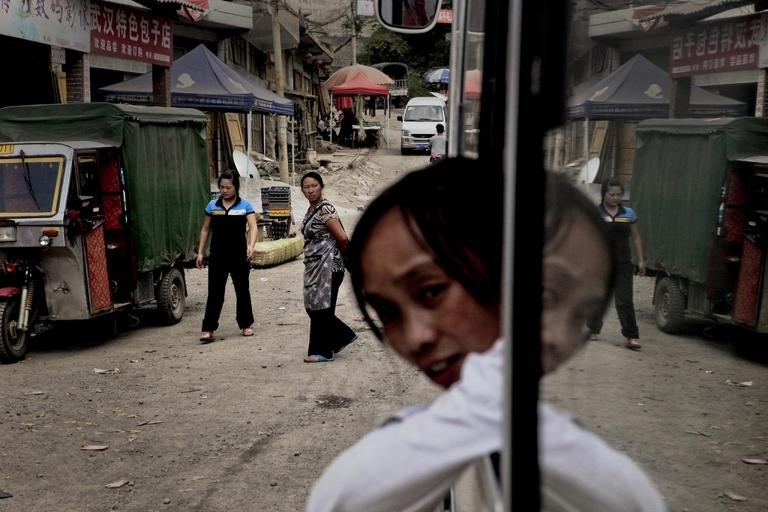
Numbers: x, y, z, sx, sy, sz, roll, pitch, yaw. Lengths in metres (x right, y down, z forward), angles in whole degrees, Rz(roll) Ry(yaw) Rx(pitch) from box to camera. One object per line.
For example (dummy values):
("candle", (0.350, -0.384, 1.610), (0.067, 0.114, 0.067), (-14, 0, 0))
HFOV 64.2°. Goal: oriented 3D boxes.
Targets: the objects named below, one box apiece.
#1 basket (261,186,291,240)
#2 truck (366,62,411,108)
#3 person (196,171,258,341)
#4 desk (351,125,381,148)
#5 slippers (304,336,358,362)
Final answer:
("basket", (-2.761, -1.148, 16.041), (0.769, 1.348, 1.753), (-4, 10, -17))
("truck", (0.624, -16.047, 55.345), (2.491, 4.379, 4.296), (-2, 1, -16))
("person", (-2.163, -0.011, 8.408), (0.810, 2.270, 0.801), (-3, 10, -14))
("desk", (-1.150, -7.723, 39.588), (1.741, 1.436, 1.614), (-1, 10, -2))
("slippers", (-0.621, 1.107, 7.337), (0.819, 0.313, 0.252), (-5, -9, -35))
